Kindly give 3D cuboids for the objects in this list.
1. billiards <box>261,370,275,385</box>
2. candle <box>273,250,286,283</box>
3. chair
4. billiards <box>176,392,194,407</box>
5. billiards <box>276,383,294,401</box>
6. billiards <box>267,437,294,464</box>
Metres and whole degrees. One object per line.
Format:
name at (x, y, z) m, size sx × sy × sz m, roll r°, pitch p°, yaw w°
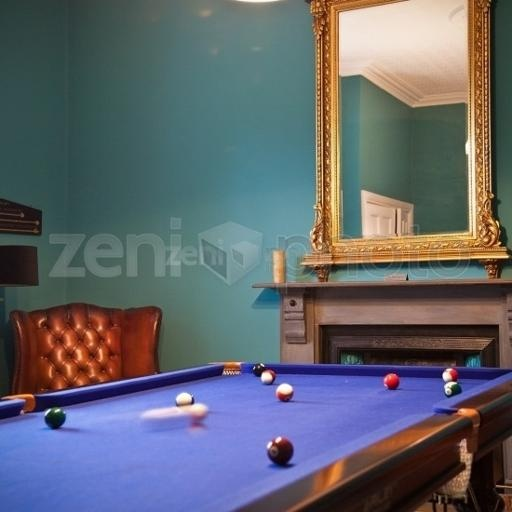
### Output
billiards at (0.049, 0.499, 2.053) m, size 0.047 × 0.052 × 0.049 m, roll 2°, pitch 20°, yaw -7°
candle at (0.167, 0.074, 3.699) m, size 0.107 × 0.274 × 0.279 m, roll -1°, pitch -4°, yaw 2°
chair at (-1.238, 0.818, 3.585) m, size 0.974 × 0.958 × 0.611 m, roll 2°, pitch -7°, yaw -32°
billiards at (-0.229, 0.440, 1.535) m, size 0.039 × 0.036 × 0.046 m, roll 0°, pitch 2°, yaw -4°
billiards at (0.095, 0.454, 1.640) m, size 0.049 × 0.054 × 0.050 m, roll 2°, pitch -5°, yaw 2°
billiards at (0.044, 0.348, 0.908) m, size 0.046 × 0.048 × 0.048 m, roll 26°, pitch -19°, yaw 12°
